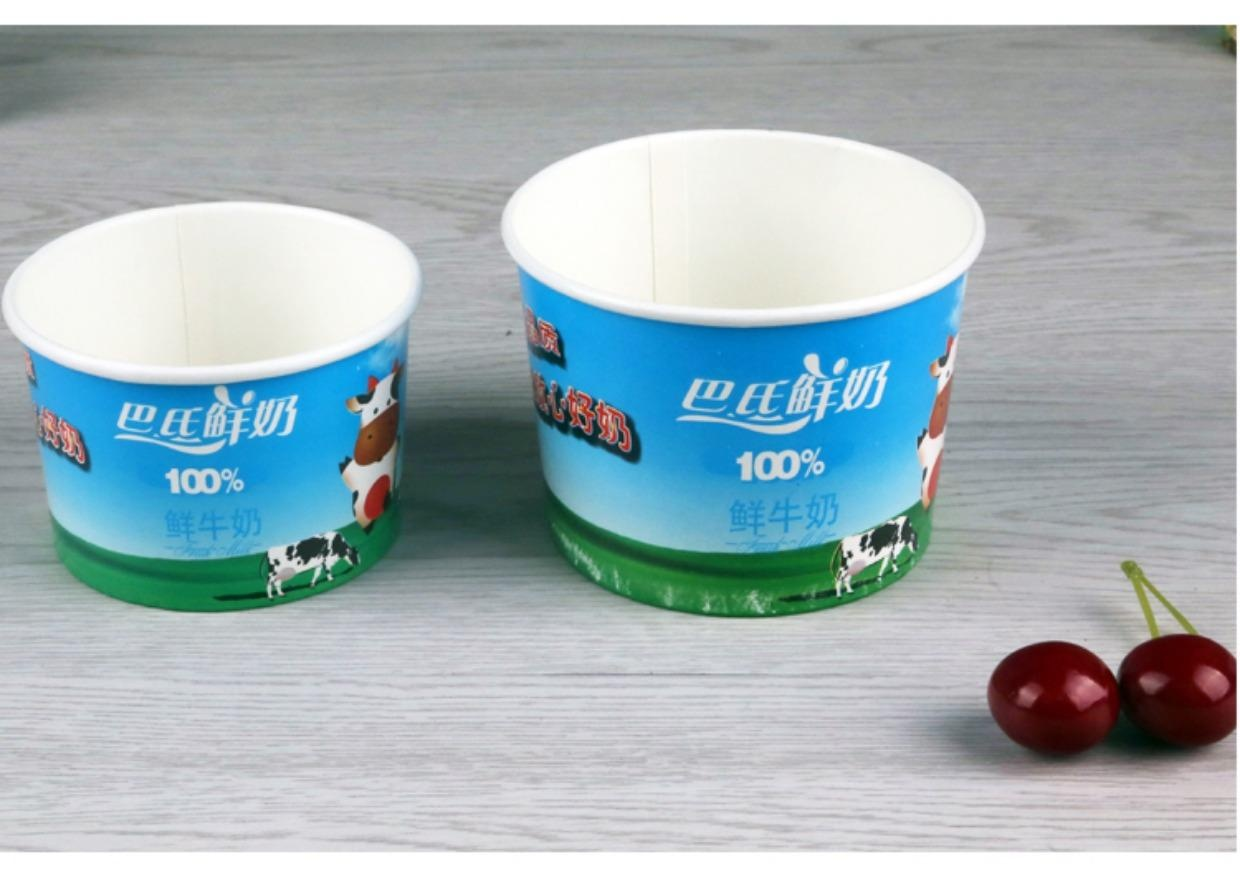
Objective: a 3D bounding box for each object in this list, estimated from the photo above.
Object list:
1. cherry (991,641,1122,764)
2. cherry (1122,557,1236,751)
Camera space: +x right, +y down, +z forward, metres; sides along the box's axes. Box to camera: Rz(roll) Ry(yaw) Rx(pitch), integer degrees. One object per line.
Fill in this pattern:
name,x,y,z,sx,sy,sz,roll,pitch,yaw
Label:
cherry,0.417,0.258,1.278,0.114,0.088,0.127,0,1,6
cherry,0.577,0.234,1.365,0.106,0.140,0.150,-21,31,7
